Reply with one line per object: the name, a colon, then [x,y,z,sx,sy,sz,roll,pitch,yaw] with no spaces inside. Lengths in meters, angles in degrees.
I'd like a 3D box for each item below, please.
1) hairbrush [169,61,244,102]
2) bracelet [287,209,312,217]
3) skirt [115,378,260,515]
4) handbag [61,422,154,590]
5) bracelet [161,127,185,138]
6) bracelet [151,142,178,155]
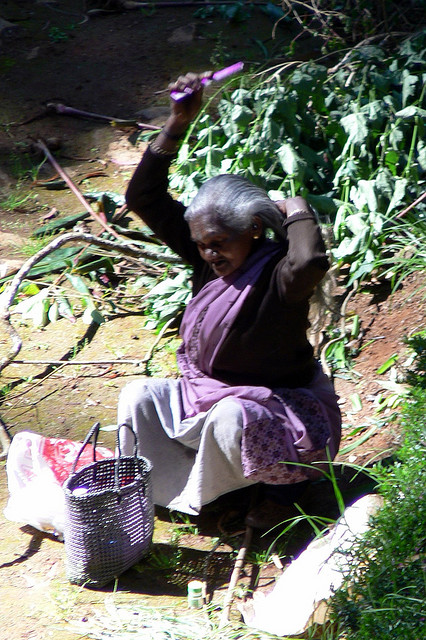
hairbrush: [0.001,-0.796,1.917,0.204,0.154,0.218,-1,25,7]
bracelet: [0.279,-0.343,1.828,0.036,0.019,0.043,-16,10,4]
skirt: [0.009,0.353,2.101,0.579,0.318,0.717,7,14,28]
handbag: [-0.321,0.570,1.882,0.338,0.542,0.354,7,21,-13]
bracelet: [-0.139,-0.641,1.951,0.056,0.011,0.050,3,-1,-31]
bracelet: [-0.178,-0.605,2.017,0.087,0.035,0.083,8,18,-4]
